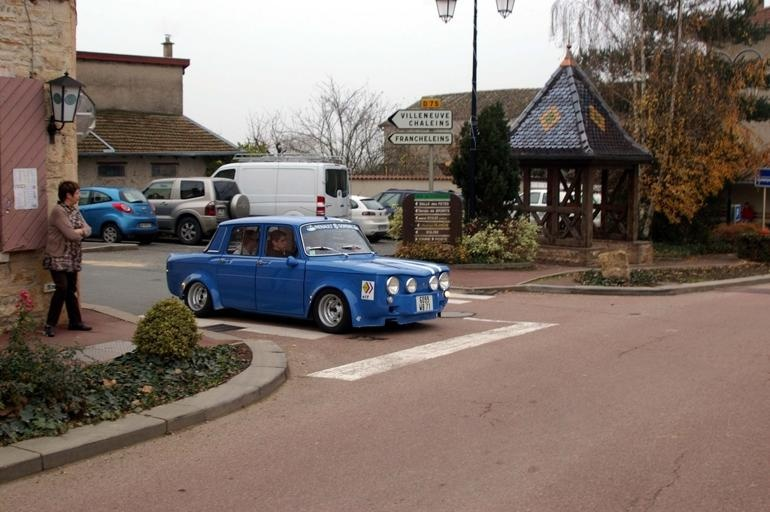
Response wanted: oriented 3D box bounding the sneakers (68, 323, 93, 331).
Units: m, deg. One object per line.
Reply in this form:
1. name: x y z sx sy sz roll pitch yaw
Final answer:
1. sneakers: -4.972 1.117 11.291 0.369 0.134 0.143 0 3 2

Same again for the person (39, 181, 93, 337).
1. person: -5.101 -0.007 11.036 0.657 2.362 0.893 1 8 8

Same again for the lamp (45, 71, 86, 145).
1. lamp: -5.224 -2.379 11.206 0.496 1.203 0.612 9 13 29

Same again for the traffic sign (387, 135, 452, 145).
1. traffic sign: 1.086 -3.402 20.089 2.140 0.329 1.136 8 12 43

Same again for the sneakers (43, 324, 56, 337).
1. sneakers: -5.263 1.132 10.838 0.092 0.116 0.269 -1 4 -42
